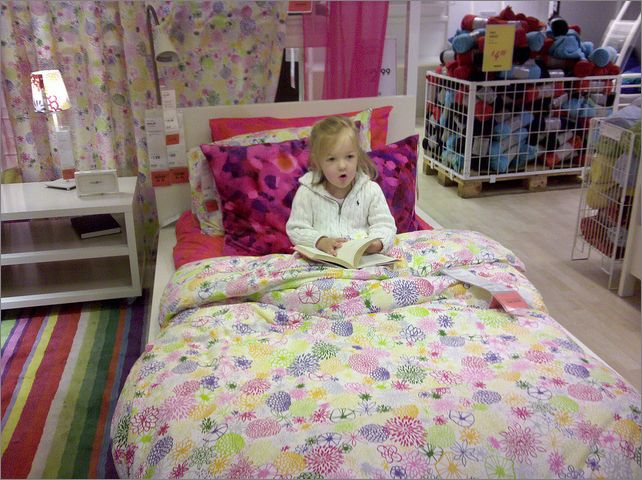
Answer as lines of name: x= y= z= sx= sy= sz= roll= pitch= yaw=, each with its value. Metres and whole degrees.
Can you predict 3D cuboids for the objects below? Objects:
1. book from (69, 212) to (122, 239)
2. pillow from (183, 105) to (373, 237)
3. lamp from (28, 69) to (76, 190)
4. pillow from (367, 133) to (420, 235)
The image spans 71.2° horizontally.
book: x=-1.287 y=-0.093 z=2.569 sx=0.182 sy=0.038 sz=0.188 roll=-5 pitch=26 yaw=-19
pillow: x=-0.209 y=-0.330 z=2.108 sx=0.702 sy=0.650 sz=0.211 roll=-17 pitch=28 yaw=-25
lamp: x=-1.486 y=-0.621 z=2.493 sx=0.204 sy=0.609 sz=0.417 roll=-13 pitch=24 yaw=-26
pillow: x=0.321 y=-0.246 z=2.006 sx=0.139 sy=0.395 sz=0.392 roll=3 pitch=27 yaw=33
